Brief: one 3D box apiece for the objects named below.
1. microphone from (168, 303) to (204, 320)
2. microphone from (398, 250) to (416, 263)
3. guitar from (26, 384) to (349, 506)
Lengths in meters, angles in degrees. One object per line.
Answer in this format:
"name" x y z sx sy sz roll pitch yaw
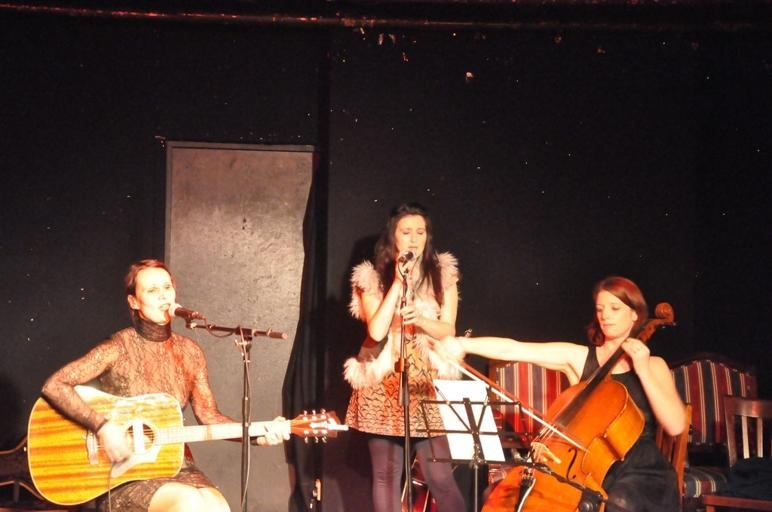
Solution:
"microphone" -1.327 0.366 5.266 0.332 0.109 0.103 8 11 42
"microphone" 0.142 0.001 5.258 0.047 0.052 0.183 10 15 19
"guitar" -1.757 1.262 5.300 1.241 0.773 0.196 0 -8 -1
